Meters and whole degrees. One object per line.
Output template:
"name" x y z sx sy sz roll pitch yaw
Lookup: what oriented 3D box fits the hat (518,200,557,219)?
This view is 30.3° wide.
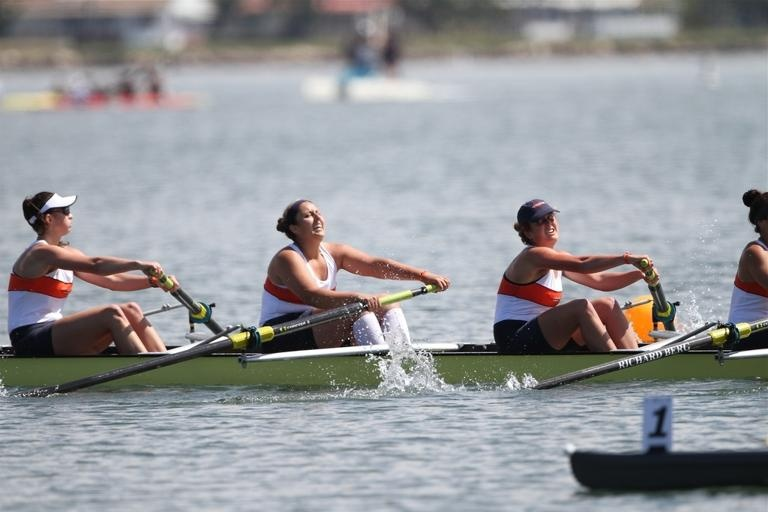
"hat" 1.740 -0.526 16.251 0.363 0.118 0.246 -11 5 37

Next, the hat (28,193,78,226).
"hat" -3.837 -0.585 16.275 0.581 0.154 0.342 -27 -1 12

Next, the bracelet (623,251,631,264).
"bracelet" 2.777 0.017 16.082 0.078 0.155 0.136 1 8 -19

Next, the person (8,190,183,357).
"person" -3.540 0.198 16.321 1.695 1.881 0.810 -4 6 -9

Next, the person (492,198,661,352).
"person" 2.046 0.224 16.311 1.638 1.741 0.651 -3 6 3
